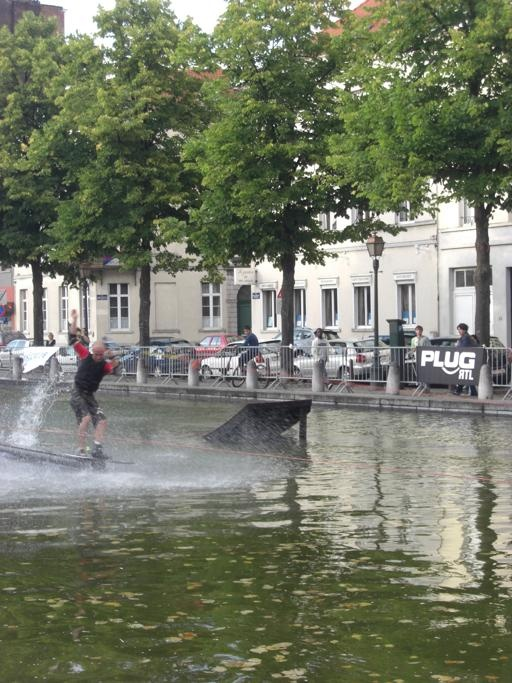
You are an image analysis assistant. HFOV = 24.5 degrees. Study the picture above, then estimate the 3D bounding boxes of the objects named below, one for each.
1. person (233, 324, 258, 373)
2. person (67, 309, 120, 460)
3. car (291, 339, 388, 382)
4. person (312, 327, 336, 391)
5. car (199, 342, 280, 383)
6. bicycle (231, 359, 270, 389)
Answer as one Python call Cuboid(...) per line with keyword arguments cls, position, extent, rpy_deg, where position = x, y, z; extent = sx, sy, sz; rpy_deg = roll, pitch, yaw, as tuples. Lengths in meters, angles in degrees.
Cuboid(cls="person", position=(-0.161, 0.057, 29.985), extent=(0.396, 0.984, 0.374), rpy_deg=(1, 34, 8))
Cuboid(cls="person", position=(-1.862, 0.491, 13.272), extent=(0.489, 1.653, 0.789), rpy_deg=(1, -3, -36))
Cuboid(cls="car", position=(1.932, 0.526, 27.091), extent=(1.072, 0.840, 3.368), rpy_deg=(0, -3, -18))
Cuboid(cls="person", position=(1.493, 0.433, 27.583), extent=(0.488, 1.439, 0.358), rpy_deg=(1, -6, -39))
Cuboid(cls="car", position=(-0.327, 0.554, 29.990), extent=(1.632, 0.777, 0.965), rpy_deg=(3, 3, 37))
Cuboid(cls="bicycle", position=(-0.221, 0.838, 29.396), extent=(0.970, 0.583, 0.486), rpy_deg=(-4, -2, 26))
